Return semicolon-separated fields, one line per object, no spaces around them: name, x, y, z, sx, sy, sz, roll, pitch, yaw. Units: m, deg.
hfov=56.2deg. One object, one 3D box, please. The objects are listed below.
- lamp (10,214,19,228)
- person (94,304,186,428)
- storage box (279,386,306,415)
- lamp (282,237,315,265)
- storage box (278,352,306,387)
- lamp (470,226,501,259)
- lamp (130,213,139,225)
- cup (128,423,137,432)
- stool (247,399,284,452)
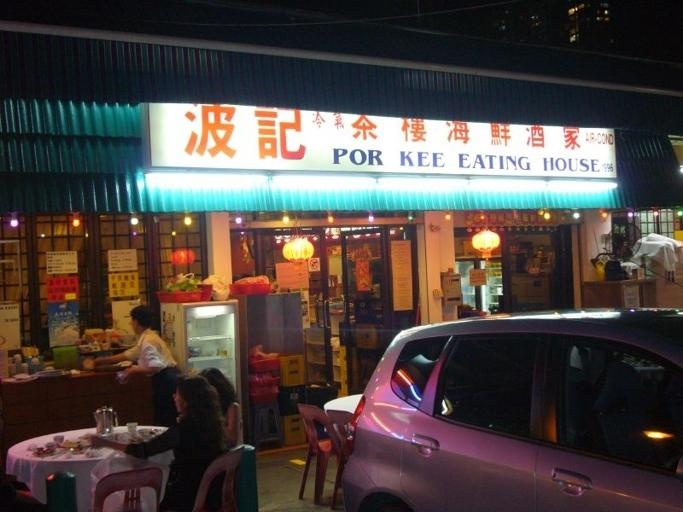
lamp;-4.504;-0.479;8.793;0.112;0.114;0.240;11;8;-15
person;-2.626;1.604;8.185;1.097;1.877;0.612;-2;12;-12
storage box;-0.700;2.049;9.138;0.355;0.411;0.422;-1;-2;-2
lamp;-0.687;-0.060;10.337;0.410;0.393;0.449;1;-5;-15
storage box;-0.735;1.667;9.420;0.398;0.550;0.397;-1;0;-6
lamp;2.721;-0.250;12.325;0.578;0.690;0.596;-2;0;24
lamp;-3.048;-0.527;9.441;0.135;0.172;0.138;-4;1;-27
cup;-2.071;1.695;6.331;0.069;0.081;0.088;2;-9;-12
stool;-1.046;2.383;9.078;0.604;0.791;0.564;2;-8;-23
